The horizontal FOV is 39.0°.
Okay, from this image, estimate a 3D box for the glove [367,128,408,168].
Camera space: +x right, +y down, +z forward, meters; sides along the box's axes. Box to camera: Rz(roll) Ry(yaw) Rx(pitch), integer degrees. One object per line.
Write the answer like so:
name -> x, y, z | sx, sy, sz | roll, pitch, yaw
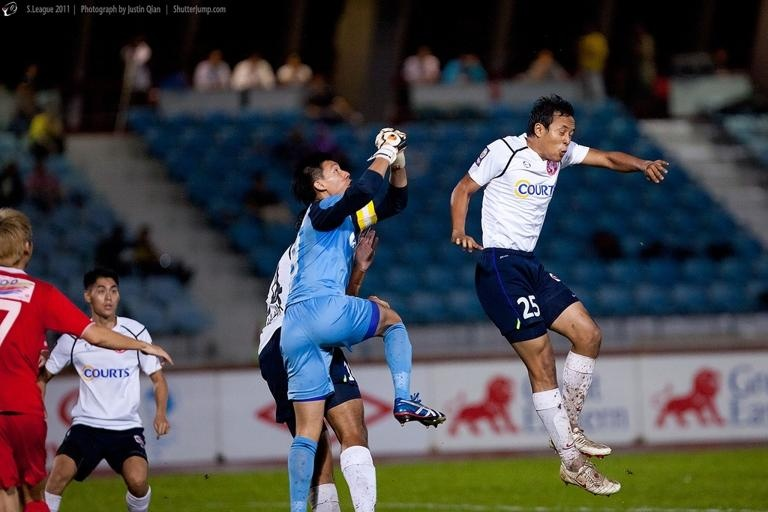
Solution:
glove -> 0.107, -1.324, 13.388 | 0.412, 0.477, 0.230 | 21, -17, 7
